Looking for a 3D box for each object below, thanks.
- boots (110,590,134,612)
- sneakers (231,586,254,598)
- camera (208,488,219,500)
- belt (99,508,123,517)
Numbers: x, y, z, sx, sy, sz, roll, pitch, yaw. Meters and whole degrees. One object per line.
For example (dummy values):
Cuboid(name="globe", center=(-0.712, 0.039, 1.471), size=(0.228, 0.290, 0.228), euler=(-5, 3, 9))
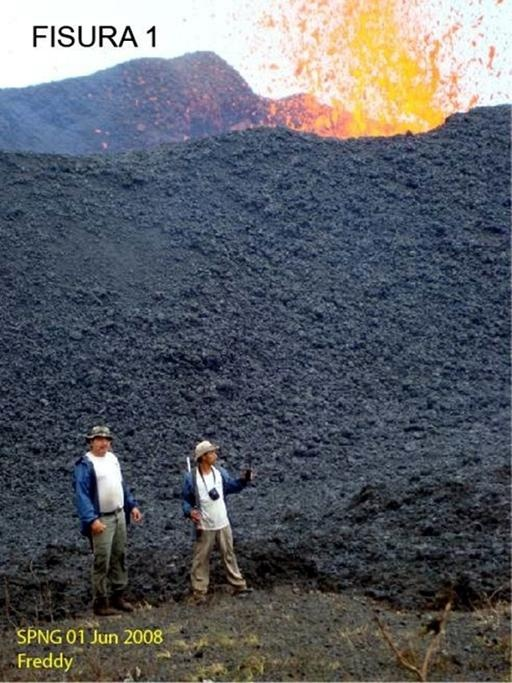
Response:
Cuboid(name="boots", center=(-1.417, 2.733, 9.979), size=(0.180, 0.241, 0.090), euler=(-38, -17, -30))
Cuboid(name="sneakers", center=(-0.150, 2.620, 10.019), size=(0.130, 0.037, 0.131), euler=(-6, 2, -36))
Cuboid(name="camera", center=(-0.447, 1.570, 9.821), size=(0.115, 0.106, 0.030), euler=(-39, 8, -33))
Cuboid(name="belt", center=(-1.460, 1.727, 9.663), size=(0.081, 0.058, 0.278), euler=(-18, -8, 35))
